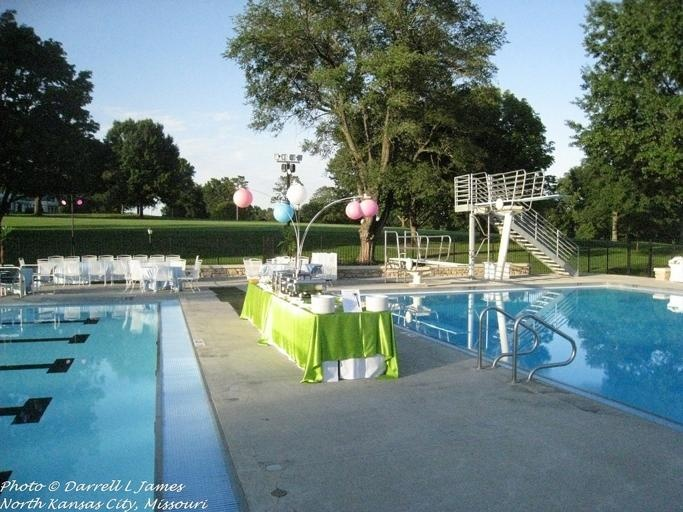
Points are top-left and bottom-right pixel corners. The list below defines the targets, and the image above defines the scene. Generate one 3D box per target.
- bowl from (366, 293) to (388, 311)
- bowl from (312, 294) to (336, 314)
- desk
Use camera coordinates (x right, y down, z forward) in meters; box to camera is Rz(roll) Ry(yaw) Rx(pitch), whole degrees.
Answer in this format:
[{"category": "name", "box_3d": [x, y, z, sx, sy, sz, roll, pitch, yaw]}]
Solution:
[{"category": "bowl", "box_3d": [0.597, 0.773, 8.281, 0.270, 0.190, 0.282, -1, -1, 0]}, {"category": "bowl", "box_3d": [-0.281, 0.801, 8.084, 0.250, 0.225, 0.336, -3, -7, 40]}, {"category": "desk", "box_3d": [-1.180, 1.375, 10.210, 1.628, 1.052, 5.816, -2, 0, -32]}]
